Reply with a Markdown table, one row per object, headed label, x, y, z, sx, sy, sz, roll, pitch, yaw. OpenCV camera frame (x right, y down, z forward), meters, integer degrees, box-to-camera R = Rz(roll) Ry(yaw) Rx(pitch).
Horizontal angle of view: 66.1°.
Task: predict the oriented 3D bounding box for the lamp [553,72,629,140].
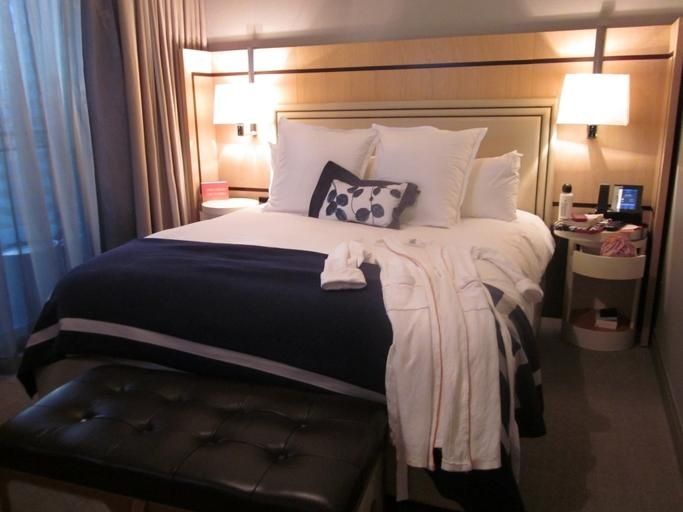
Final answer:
| label | x | y | z | sx | sy | sz | roll | pitch | yaw |
| --- | --- | --- | --- | --- | --- | --- | --- | --- | --- |
| lamp | 1.661 | -1.009 | 3.435 | 0.410 | 0.408 | 0.419 | 7 | 25 | 26 |

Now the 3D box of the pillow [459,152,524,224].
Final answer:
| label | x | y | z | sx | sy | sz | roll | pitch | yaw |
| --- | --- | --- | --- | --- | --- | --- | --- | --- | --- |
| pillow | 0.971 | -0.436 | 3.436 | 0.448 | 0.405 | 0.207 | 2 | 17 | 31 |

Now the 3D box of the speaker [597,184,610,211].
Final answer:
| label | x | y | z | sx | sy | sz | roll | pitch | yaw |
| --- | --- | --- | --- | --- | --- | --- | --- | --- | --- |
| speaker | 1.748 | -0.381 | 3.493 | 0.065 | 0.178 | 0.102 | 8 | 18 | 19 |

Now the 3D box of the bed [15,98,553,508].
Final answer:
| label | x | y | z | sx | sy | sz | roll | pitch | yaw |
| --- | --- | --- | --- | --- | --- | --- | --- | --- | --- |
| bed | 0.156 | 0.096 | 2.985 | 2.176 | 1.426 | 2.225 | 7 | 22 | 21 |

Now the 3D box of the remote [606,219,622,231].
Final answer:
| label | x | y | z | sx | sy | sz | roll | pitch | yaw |
| --- | --- | --- | --- | --- | --- | --- | --- | --- | --- |
| remote | 1.750 | -0.192 | 3.355 | 0.092 | 0.041 | 0.162 | 12 | 20 | 29 |

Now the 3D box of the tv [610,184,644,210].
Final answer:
| label | x | y | z | sx | sy | sz | roll | pitch | yaw |
| --- | --- | --- | --- | --- | --- | --- | --- | --- | --- |
| tv | 1.890 | -0.390 | 3.473 | 0.170 | 0.170 | 0.198 | 9 | 19 | 22 |

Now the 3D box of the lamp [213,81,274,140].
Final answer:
| label | x | y | z | sx | sy | sz | roll | pitch | yaw |
| --- | --- | --- | --- | --- | --- | --- | --- | --- | --- |
| lamp | -0.732 | -1.159 | 4.289 | 0.559 | 0.570 | 0.418 | 4 | 18 | 4 |

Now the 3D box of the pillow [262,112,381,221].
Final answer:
| label | x | y | z | sx | sy | sz | roll | pitch | yaw |
| --- | --- | --- | --- | --- | --- | --- | --- | --- | --- |
| pillow | -0.183 | -0.573 | 3.713 | 0.688 | 0.664 | 0.213 | 7 | -6 | 34 |

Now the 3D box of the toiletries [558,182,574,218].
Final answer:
| label | x | y | z | sx | sy | sz | roll | pitch | yaw |
| --- | --- | --- | --- | --- | --- | --- | --- | --- | --- |
| toiletries | 1.504 | -0.339 | 3.506 | 0.076 | 0.291 | 0.076 | 4 | 25 | 28 |
